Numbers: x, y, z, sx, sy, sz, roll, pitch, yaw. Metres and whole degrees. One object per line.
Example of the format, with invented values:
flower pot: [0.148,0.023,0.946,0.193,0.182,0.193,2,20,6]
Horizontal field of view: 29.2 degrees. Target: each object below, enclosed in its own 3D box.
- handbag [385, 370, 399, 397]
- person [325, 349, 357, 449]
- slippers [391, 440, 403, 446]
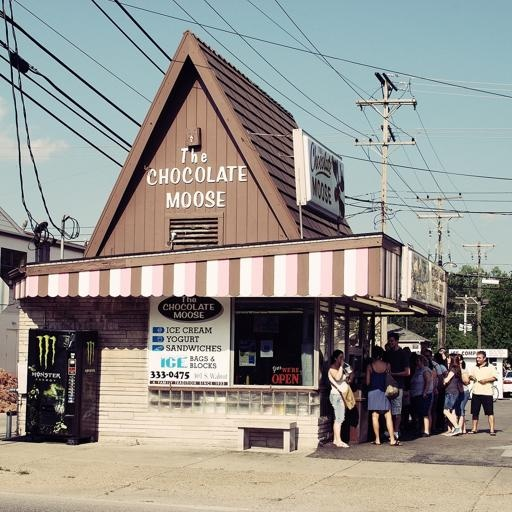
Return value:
handbag: [2.683,2.517,19.480,0.139,0.489,0.360,-8,-15,9]
person: [1.670,2.765,19.146,0.536,1.852,0.541,3,-10,-17]
slippers: [2.769,3.642,19.417,0.190,0.087,0.119,-3,-4,12]
